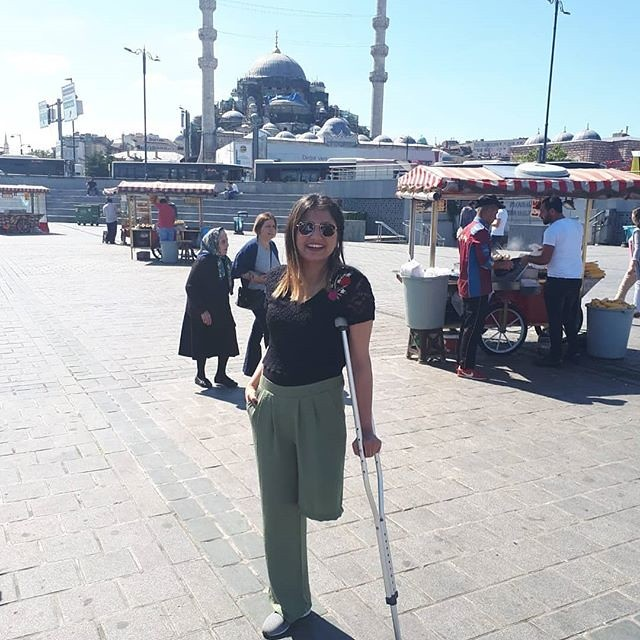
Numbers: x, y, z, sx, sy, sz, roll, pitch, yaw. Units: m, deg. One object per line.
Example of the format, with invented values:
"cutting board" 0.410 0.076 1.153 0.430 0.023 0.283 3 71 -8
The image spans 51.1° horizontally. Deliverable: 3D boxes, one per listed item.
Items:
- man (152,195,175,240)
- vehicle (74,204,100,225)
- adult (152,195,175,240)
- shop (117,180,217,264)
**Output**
"man" -4.311 -2.751 18.605 0.533 1.213 1.245 -1 11 -14
"vehicle" -13.654 -6.152 39.143 1.732 1.464 1.258 -2 26 -17
"adult" -4.390 -2.799 18.871 0.559 1.213 1.807 -1 11 -14
"shop" -4.434 -2.929 19.776 2.768 2.179 1.574 3 12 19
